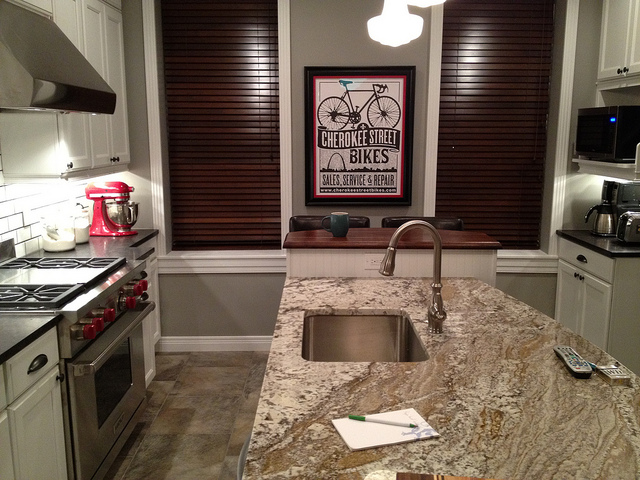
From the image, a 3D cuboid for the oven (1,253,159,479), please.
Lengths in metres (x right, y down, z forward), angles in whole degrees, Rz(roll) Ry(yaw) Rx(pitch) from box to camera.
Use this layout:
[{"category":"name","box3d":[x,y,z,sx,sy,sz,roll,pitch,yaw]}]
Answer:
[{"category":"oven","box3d":[-1.287,0.685,2.574,0.706,1.025,0.872,-5,15,-20]}]

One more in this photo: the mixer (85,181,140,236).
[{"category":"mixer","box3d":[-1.596,-0.245,3.542,0.422,0.399,0.258,2,8,7]}]

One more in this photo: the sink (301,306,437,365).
[{"category":"sink","box3d":[0.173,0.480,1.915,0.506,0.257,0.488,0,14,0]}]

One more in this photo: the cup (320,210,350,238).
[{"category":"cup","box3d":[0.104,-0.130,3.287,0.167,0.163,0.331,-1,14,-5]}]

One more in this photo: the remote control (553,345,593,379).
[{"category":"remote control","box3d":[0.900,0.423,1.632,0.049,0.027,0.134,1,11,6]}]
